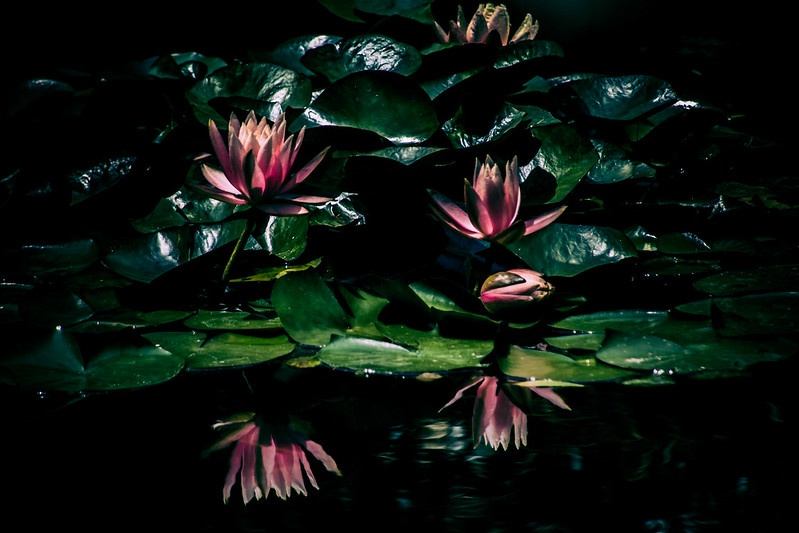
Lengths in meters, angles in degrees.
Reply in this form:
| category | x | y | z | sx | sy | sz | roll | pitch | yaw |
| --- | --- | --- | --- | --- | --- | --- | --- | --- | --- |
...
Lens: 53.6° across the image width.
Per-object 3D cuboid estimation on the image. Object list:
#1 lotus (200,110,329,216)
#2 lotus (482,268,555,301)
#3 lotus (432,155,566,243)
| category | x | y | z | sx | sy | sz | roll | pitch | yaw |
| --- | --- | --- | --- | --- | --- | --- | --- | --- | --- |
| lotus | -0.258 | -0.205 | 1.546 | 0.269 | 0.132 | 0.229 | -3 | 22 | -27 |
| lotus | 0.210 | 0.031 | 1.439 | 0.109 | 0.038 | 0.056 | -4 | 20 | 12 |
| lotus | 0.172 | -0.107 | 1.443 | 0.228 | 0.111 | 0.178 | -7 | 20 | -1 |
